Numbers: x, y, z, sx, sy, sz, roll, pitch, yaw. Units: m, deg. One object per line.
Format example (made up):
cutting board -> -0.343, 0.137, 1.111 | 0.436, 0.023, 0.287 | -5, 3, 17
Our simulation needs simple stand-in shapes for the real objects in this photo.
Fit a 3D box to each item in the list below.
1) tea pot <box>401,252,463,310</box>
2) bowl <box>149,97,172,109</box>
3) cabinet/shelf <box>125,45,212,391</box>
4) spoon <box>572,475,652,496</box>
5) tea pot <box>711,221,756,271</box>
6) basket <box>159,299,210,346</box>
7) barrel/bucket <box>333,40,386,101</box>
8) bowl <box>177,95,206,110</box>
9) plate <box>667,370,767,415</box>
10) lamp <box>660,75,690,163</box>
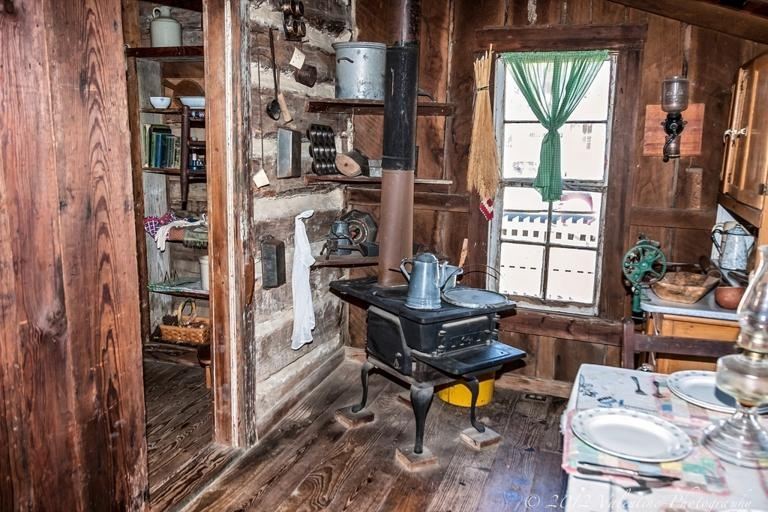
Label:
tea pot -> 0.260, 0.127, 3.262 | 0.339, 0.307, 0.404 | 2, 13, 23
bowl -> -1.860, -1.277, 4.400 | 0.133, 0.066, 0.133 | -1, 7, 0
cabinet/shelf -> -1.739, -0.393, 4.481 | 0.683, 2.626, 1.020 | -8, 13, -24
spoon -> 0.754, 0.755, 1.797 | 0.287, 0.056, 0.063 | 4, -11, 8
tea pot -> 2.229, -0.084, 3.574 | 0.313, 0.295, 0.188 | -3, 12, 4
basket -> -1.740, 0.589, 4.655 | 0.437, 0.407, 0.400 | 5, 8, 17
barrel/bucket -> -0.172, -1.369, 4.030 | 0.441, 0.383, 0.435 | 0, 8, 0
bowl -> -1.506, -1.217, 4.190 | 0.239, 0.107, 0.063 | 2, 13, 21
plate -> 1.339, 0.575, 2.250 | 0.203, 0.028, 0.199 | 9, 15, 43
lamp -> 1.987, -0.944, 3.668 | 0.153, 0.563, 0.226 | 4, 14, 29
